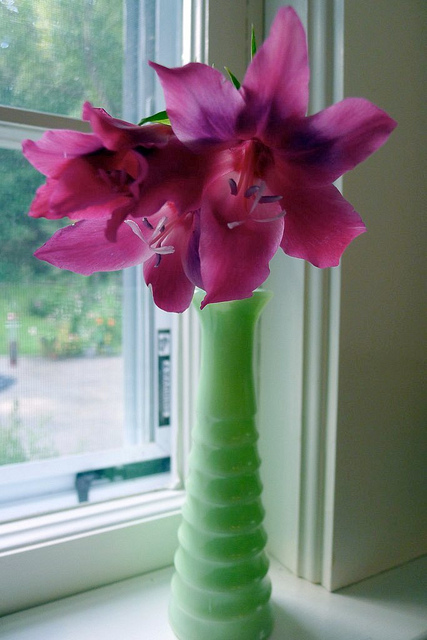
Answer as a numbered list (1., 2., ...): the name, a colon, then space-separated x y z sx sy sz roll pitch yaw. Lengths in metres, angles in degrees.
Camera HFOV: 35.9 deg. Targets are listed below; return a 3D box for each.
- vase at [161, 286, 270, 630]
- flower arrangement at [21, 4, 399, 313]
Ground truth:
1. vase: 0.014 0.151 0.693 0.097 0.366 0.105 -6 14 -40
2. flower arrangement: -0.008 -0.120 0.531 0.289 0.253 0.137 5 11 13
